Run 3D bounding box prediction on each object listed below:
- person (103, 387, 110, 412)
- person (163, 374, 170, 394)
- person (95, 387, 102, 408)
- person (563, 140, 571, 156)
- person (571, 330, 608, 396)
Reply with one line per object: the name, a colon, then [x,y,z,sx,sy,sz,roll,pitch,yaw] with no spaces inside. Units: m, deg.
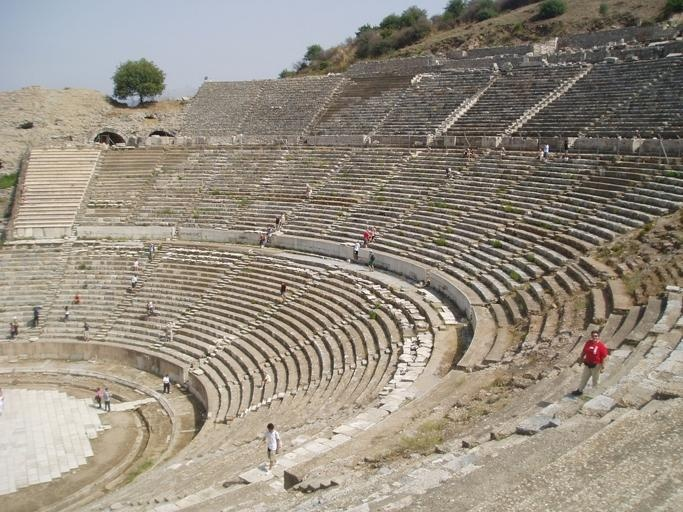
person: [-10.188,6.204,29.017,0.381,0.909,1.313,6,3,-19]
person: [-7.898,5.791,30.230,0.342,0.837,0.853,7,3,-11]
person: [-10.537,6.166,29.020,0.285,0.826,0.692,6,3,-20]
person: [11.034,-5.431,32.515,0.264,0.700,0.527,8,3,7]
person: [6.466,2.784,17.119,0.623,1.561,0.536,5,4,-33]
